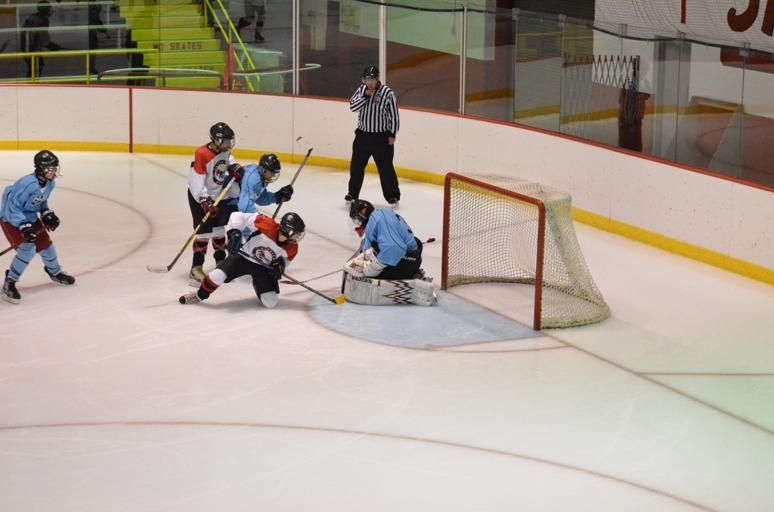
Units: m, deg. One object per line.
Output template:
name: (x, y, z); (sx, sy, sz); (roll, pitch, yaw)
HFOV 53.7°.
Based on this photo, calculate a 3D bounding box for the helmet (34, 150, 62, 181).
helmet: (-3.113, -0.819, 6.997); (0.193, 0.279, 0.215); (-6, 18, -23)

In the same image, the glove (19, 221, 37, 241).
glove: (-3.219, -0.227, 6.932); (0.141, 0.166, 0.126); (-6, 58, -7)

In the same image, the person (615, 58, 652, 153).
person: (2.911, -1.697, 9.132); (0.339, 1.216, 0.123); (12, 47, 26)

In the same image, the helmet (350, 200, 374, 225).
helmet: (-0.242, -0.410, 7.157); (0.247, 0.225, 0.181); (13, 24, -2)

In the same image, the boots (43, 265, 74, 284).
boots: (-3.142, 0.189, 7.437); (0.368, 0.115, 0.148); (10, -9, -8)

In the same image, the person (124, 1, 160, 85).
person: (-4.223, -3.640, 13.000); (0.453, 1.395, 1.348); (-4, 17, -17)

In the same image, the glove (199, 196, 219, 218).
glove: (-1.754, -0.493, 7.581); (0.200, 0.153, 0.150); (0, 4, 11)

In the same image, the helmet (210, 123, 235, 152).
helmet: (-1.632, -1.165, 7.517); (0.215, 0.271, 0.255); (-3, 16, -14)

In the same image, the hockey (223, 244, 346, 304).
hockey: (-1.018, 0.195, 7.335); (1.080, 0.178, 0.159); (23, 11, 2)

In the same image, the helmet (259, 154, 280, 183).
helmet: (-1.163, -0.846, 7.494); (0.197, 0.281, 0.201); (-1, 16, -9)

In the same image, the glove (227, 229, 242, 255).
glove: (-1.390, -0.128, 6.884); (0.153, 0.193, 0.090); (-3, 18, -38)

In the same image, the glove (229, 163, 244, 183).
glove: (-1.510, -0.858, 7.752); (0.148, 0.196, 0.086); (38, 60, 3)

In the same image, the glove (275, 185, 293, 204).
glove: (-1.075, -0.632, 8.043); (0.163, 0.075, 0.212); (6, 41, 43)

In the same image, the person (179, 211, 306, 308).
person: (-1.364, 0.060, 7.225); (0.677, 0.905, 0.478); (22, 30, -40)

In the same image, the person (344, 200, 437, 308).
person: (0.021, -0.023, 7.477); (1.131, 0.983, 0.786); (5, 9, 14)

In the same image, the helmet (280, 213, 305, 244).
helmet: (-0.799, -0.258, 6.800); (0.264, 0.224, 0.203); (9, 29, -15)
